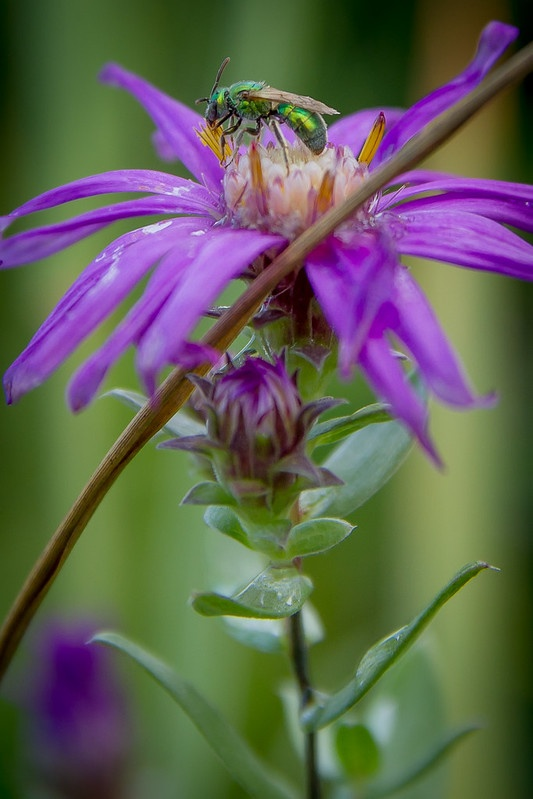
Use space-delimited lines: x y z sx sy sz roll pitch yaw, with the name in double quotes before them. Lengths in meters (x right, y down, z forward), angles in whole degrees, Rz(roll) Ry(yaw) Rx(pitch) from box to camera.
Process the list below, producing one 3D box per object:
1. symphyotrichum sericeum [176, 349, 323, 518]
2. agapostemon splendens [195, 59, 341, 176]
"symphyotrichum sericeum" -0.006 0.018 0.348 0.069 0.042 0.071 1 -62 -12
"agapostemon splendens" -0.001 -0.196 0.514 0.101 0.071 0.068 6 -70 0
